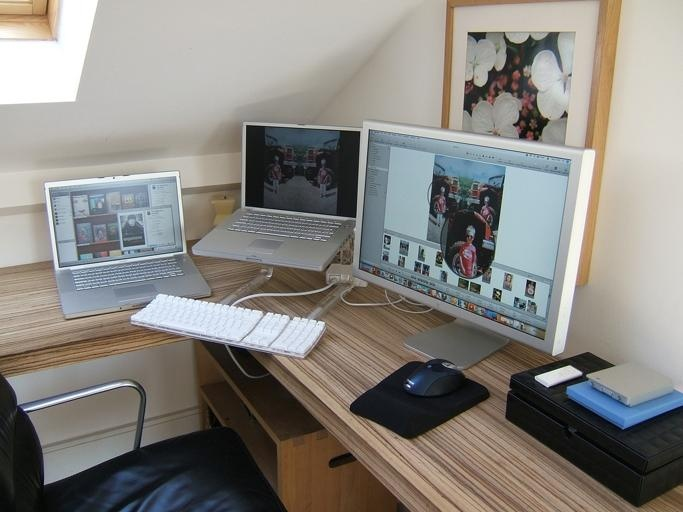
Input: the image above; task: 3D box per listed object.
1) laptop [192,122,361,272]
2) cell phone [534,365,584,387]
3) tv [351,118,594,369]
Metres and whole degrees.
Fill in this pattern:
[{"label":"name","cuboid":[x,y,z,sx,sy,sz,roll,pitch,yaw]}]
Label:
[{"label":"laptop","cuboid":[-0.164,-0.209,1.734,0.589,0.431,0.503,11,32,18]},{"label":"cell phone","cuboid":[0.451,0.239,1.055,0.084,0.009,0.042,-13,25,-30]},{"label":"tv","cuboid":[0.333,-0.027,1.228,0.176,0.440,0.497,-20,33,-39]}]
